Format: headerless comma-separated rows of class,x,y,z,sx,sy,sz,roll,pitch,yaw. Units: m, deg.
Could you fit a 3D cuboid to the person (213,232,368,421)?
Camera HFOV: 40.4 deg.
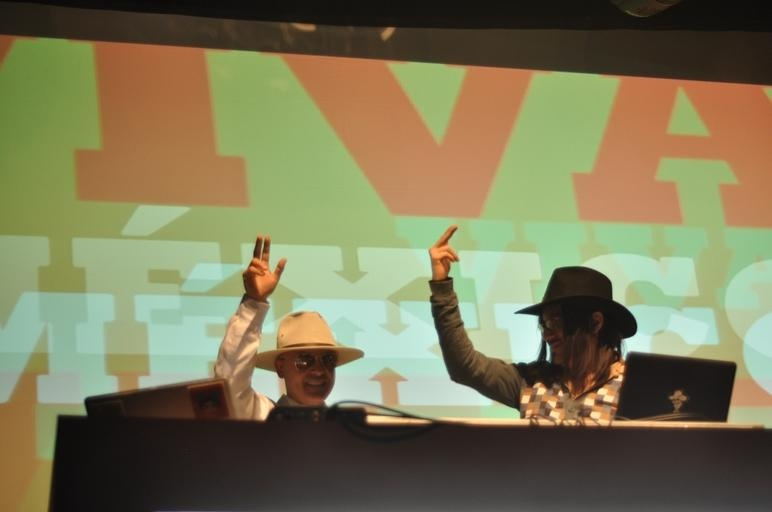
person,-0.493,0.369,5.315,0.577,0.875,0.996,1,-3,5

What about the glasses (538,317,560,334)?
glasses,0.833,0.351,5.320,0.062,0.059,0.078,3,-14,-2

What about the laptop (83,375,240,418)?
laptop,-0.902,0.561,4.187,0.597,0.161,0.165,1,-3,16

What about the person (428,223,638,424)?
person,0.747,0.333,5.281,0.997,0.927,0.477,1,-3,12

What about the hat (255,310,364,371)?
hat,-0.432,0.421,5.703,0.583,0.285,0.740,-1,-3,-15

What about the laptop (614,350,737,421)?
laptop,1.212,0.545,4.377,0.473,0.274,0.121,1,-3,13

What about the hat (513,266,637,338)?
hat,0.984,0.176,5.480,0.475,0.230,0.553,-7,7,-24
